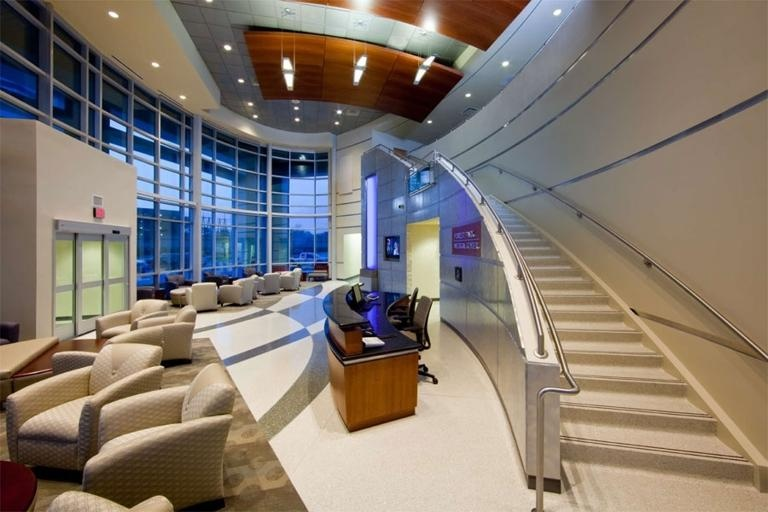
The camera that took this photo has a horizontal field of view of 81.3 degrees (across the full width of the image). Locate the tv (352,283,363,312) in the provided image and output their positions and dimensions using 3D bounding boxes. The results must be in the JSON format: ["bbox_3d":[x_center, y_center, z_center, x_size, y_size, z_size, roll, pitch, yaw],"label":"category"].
[{"bbox_3d":[-0.520,0.888,9.345,0.348,0.472,0.499,0,4,3],"label":"tv"}]

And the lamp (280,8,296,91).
[{"bbox_3d":[-2.461,-5.191,11.473,0.340,1.330,2.624,-3,-2,-11],"label":"lamp"}]

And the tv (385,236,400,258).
[{"bbox_3d":[0.285,-0.271,14.133,0.076,0.499,0.712,0,-2,-19],"label":"tv"}]

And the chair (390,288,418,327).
[{"bbox_3d":[0.391,1.122,9.469,0.679,1.116,0.815,1,-1,-1],"label":"chair"}]

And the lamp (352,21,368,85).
[{"bbox_3d":[-0.598,-4.937,11.076,0.406,1.752,0.194,15,-39,-21],"label":"lamp"}]
